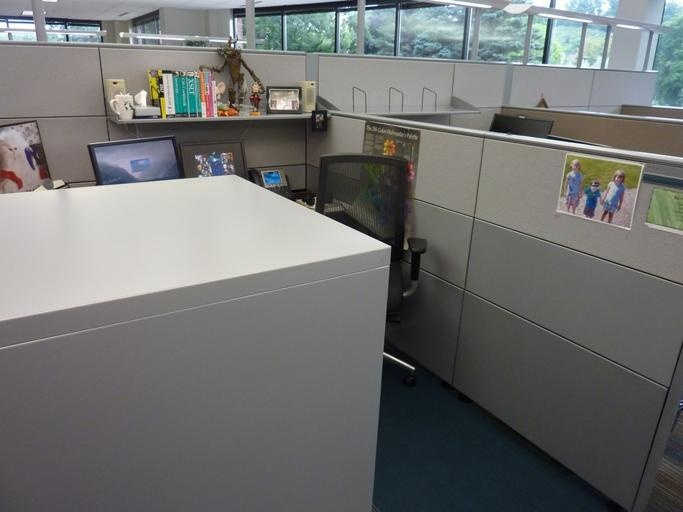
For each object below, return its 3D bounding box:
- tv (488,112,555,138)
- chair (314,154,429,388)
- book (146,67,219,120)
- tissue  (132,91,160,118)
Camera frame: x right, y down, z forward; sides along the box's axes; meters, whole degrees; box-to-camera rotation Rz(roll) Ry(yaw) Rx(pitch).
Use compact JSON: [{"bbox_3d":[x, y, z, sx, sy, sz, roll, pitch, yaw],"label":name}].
[{"bbox_3d":[1.530,-1.109,3.981,0.340,0.144,0.761,-1,23,-4],"label":"tv"},{"bbox_3d":[0.084,0.081,2.474,0.667,1.178,0.638,0,15,-8],"label":"chair"},{"bbox_3d":[-0.968,-0.993,2.884,0.412,0.267,0.264,-10,24,-22],"label":"book"},{"bbox_3d":[-1.151,-0.853,2.781,0.149,0.205,0.198,-2,13,-13],"label":"tissue "}]
